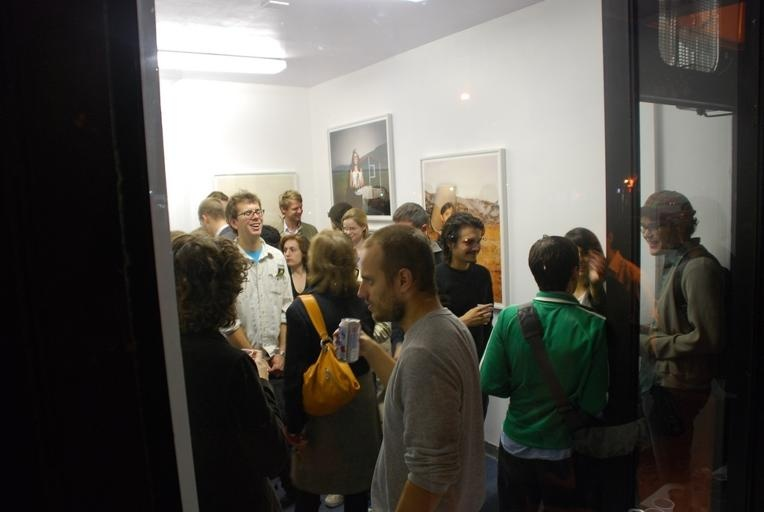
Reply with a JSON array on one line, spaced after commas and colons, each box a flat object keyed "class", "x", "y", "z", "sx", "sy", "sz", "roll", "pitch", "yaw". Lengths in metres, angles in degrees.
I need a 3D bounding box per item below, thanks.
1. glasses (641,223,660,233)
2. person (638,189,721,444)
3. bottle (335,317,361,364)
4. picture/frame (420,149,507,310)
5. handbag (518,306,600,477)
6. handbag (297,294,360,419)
[{"class": "glasses", "x": 0.909, "y": -0.097, "z": 1.938, "sx": 0.036, "sy": 0.039, "sz": 0.014, "roll": -2, "pitch": 46, "yaw": 10}, {"class": "person", "x": 1.052, "y": 0.211, "z": 2.026, "sx": 0.372, "sy": 0.871, "sz": 0.120, "roll": -4, "pitch": 3, "yaw": -31}, {"class": "bottle", "x": -0.096, "y": 0.228, "z": 1.587, "sx": 0.064, "sy": 0.116, "sz": 0.066, "roll": 3, "pitch": 3, "yaw": 0}, {"class": "picture/frame", "x": 0.238, "y": -0.076, "z": 1.673, "sx": 0.251, "sy": 0.509, "sz": 0.019, "roll": -4, "pitch": -23, "yaw": 12}, {"class": "handbag", "x": 0.492, "y": 0.410, "z": 1.850, "sx": 0.101, "sy": 0.430, "sz": 0.245, "roll": -24, "pitch": 2, "yaw": 11}, {"class": "handbag", "x": -0.158, "y": 0.271, "z": 1.613, "sx": 0.177, "sy": 0.325, "sz": 0.135, "roll": 2, "pitch": -17, "yaw": -15}]
